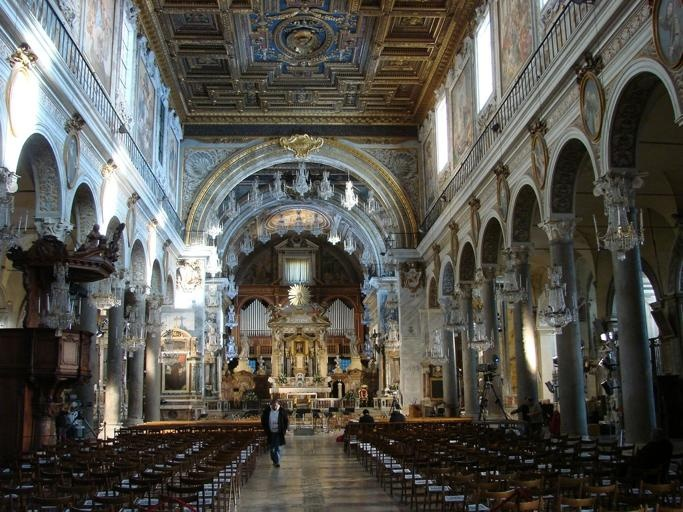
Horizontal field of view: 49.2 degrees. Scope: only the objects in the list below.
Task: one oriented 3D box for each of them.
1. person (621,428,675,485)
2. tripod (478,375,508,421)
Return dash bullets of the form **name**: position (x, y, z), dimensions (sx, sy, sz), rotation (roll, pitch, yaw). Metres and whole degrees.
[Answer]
- **person**: position (4.937, 3.250, 12.081), dimensions (0.774, 0.882, 1.599), rotation (-8, -17, 22)
- **tripod**: position (4.783, 4.557, 23.804), dimensions (0.823, 1.450, 2.181), rotation (-4, -15, 9)
